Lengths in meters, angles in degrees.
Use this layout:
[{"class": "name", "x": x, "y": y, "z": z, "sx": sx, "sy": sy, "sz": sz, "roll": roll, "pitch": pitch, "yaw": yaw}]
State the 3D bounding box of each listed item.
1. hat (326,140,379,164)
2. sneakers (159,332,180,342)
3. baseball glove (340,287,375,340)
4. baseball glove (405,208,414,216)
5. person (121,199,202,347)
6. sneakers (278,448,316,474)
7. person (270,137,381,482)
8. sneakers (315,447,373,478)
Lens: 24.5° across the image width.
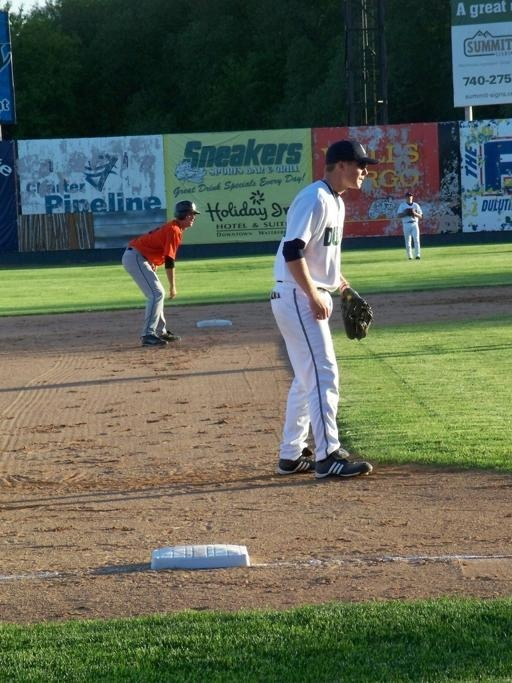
[{"class": "hat", "x": 0.485, "y": -0.967, "z": 5.994, "sx": 0.203, "sy": 0.110, "sz": 0.139, "roll": -10, "pitch": 19, "yaw": -2}, {"class": "sneakers", "x": -0.853, "y": -0.047, "z": 11.783, "sx": 0.204, "sy": 0.087, "sz": 0.068, "roll": -2, "pitch": 23, "yaw": -27}, {"class": "baseball glove", "x": 0.573, "y": -0.155, "z": 6.605, "sx": 0.187, "sy": 0.278, "sz": 0.127, "roll": -21, "pitch": -2, "yaw": -27}, {"class": "baseball glove", "x": 2.968, "y": -2.506, "z": 22.845, "sx": 0.109, "sy": 0.153, "sz": 0.036, "roll": -2, "pitch": 9, "yaw": 2}, {"class": "person", "x": -0.903, "y": -0.630, "z": 11.303, "sx": 0.698, "sy": 1.384, "sz": 1.450, "roll": -3, "pitch": 4, "yaw": -5}, {"class": "sneakers", "x": 0.241, "y": 0.649, "z": 6.464, "sx": 0.087, "sy": 0.108, "sz": 0.257, "roll": 9, "pitch": 11, "yaw": 38}, {"class": "person", "x": 0.345, "y": -0.149, "z": 6.101, "sx": 0.539, "sy": 1.766, "sz": 0.673, "roll": -3, "pitch": 5, "yaw": 0}, {"class": "sneakers", "x": 0.446, "y": 0.641, "z": 6.264, "sx": 0.344, "sy": 0.156, "sz": 0.126, "roll": -4, "pitch": 1, "yaw": 11}]
